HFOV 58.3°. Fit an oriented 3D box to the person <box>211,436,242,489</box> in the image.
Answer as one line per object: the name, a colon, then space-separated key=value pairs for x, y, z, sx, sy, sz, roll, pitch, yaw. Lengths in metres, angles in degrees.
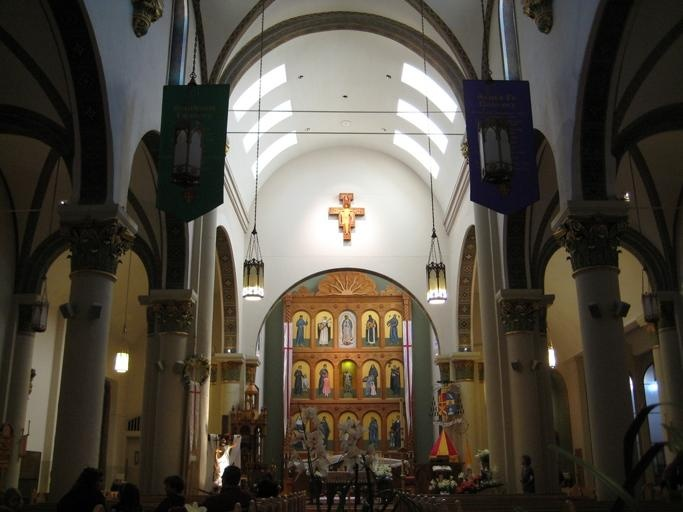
person: x=-2.987 y=5.014 z=15.546 sx=0.490 sy=1.018 sz=0.547 roll=4 pitch=0 yaw=3
